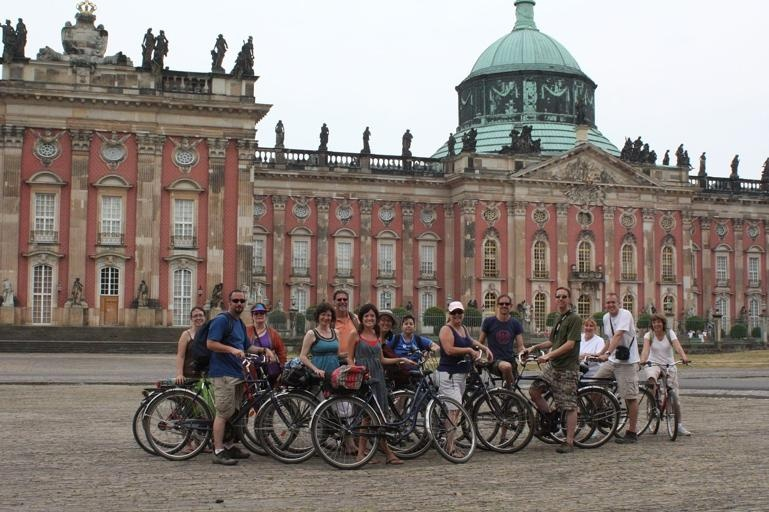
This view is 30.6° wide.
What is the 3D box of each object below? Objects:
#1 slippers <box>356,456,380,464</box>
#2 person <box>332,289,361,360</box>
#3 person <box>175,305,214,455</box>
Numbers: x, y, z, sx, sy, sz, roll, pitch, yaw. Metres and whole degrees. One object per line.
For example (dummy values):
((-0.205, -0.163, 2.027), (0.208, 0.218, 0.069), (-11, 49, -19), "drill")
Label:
((-0.440, 5.662, 38.733), (0.671, 0.242, 0.231), (-1, -5, -8), "slippers")
((-1.071, 1.908, 39.184), (0.633, 1.959, 0.527), (8, 1, -22), "person")
((-5.599, 3.453, 39.607), (0.959, 3.909, 0.918), (2, 2, -37), "person")
